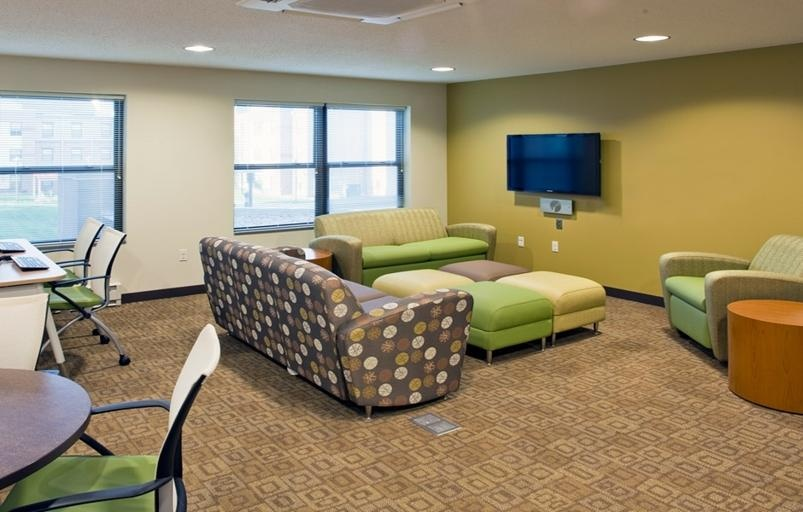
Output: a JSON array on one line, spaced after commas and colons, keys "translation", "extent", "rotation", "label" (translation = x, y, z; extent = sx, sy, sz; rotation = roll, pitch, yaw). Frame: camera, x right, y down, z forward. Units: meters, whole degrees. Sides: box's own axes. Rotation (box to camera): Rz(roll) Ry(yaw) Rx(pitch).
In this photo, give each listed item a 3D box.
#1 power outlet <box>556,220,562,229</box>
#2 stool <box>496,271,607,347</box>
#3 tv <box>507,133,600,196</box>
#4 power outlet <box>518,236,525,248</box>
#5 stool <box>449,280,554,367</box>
[{"translation": [2.224, -0.449, 7.355], "extent": [0.027, 0.118, 0.139], "rotation": [-9, 11, -37], "label": "power outlet"}, {"translation": [1.438, 0.542, 5.826], "extent": [0.979, 0.525, 1.290], "rotation": [-5, 7, -42], "label": "stool"}, {"translation": [2.086, -1.272, 7.255], "extent": [0.046, 0.828, 1.607], "rotation": [-16, 18, -32], "label": "tv"}, {"translation": [1.803, -0.222, 7.832], "extent": [0.176, 0.170, 0.021], "rotation": [13, 20, 43], "label": "power outlet"}, {"translation": [0.941, 0.612, 5.079], "extent": [0.811, 0.465, 0.841], "rotation": [-7, 12, -31], "label": "stool"}]
